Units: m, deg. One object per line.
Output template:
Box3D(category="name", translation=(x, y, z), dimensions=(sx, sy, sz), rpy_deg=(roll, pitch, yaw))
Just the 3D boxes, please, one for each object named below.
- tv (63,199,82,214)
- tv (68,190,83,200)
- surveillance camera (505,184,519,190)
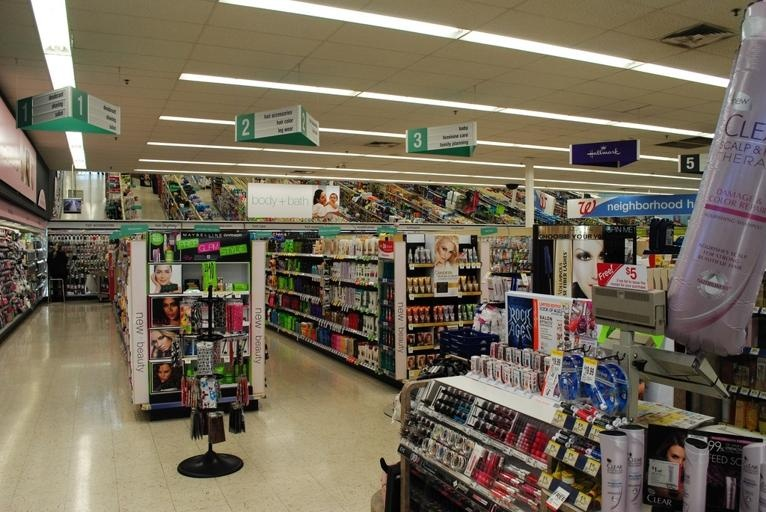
Box3D(category="tv", translation=(-11.829, -1.911, 19.766), dimensions=(0.559, 0.514, 0.306), rpy_deg=(0, 7, -10))
Box3D(category="tv", translation=(-13.292, -2.725, 22.450), dimensions=(0.490, 0.398, 1.377), rpy_deg=(-2, 4, -26))
Box3D(category="surveillance camera", translation=(5.036, -2.746, 20.214), dimensions=(0.248, 0.147, 0.361), rpy_deg=(1, -5, -35))
